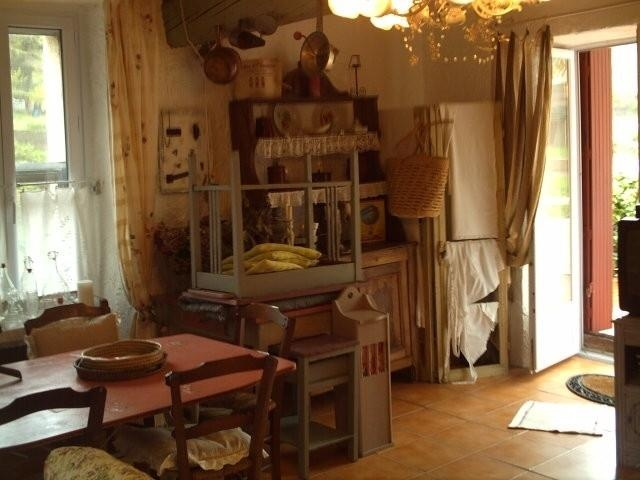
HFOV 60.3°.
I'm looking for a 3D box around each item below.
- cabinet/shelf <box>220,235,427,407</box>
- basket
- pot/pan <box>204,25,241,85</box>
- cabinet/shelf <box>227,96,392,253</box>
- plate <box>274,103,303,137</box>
[{"bbox_3d":[0.000,0.532,3.733,0.470,0.987,1.267,-1,4,38],"label":"cabinet/shelf"},{"bbox_3d":[0.825,-0.645,4.758,0.632,0.957,0.492,3,9,34],"label":"basket"},{"bbox_3d":[-0.784,-1.438,4.356,0.273,0.420,0.338,-4,8,-18],"label":"pot/pan"},{"bbox_3d":[-0.129,-0.531,4.518,0.443,1.288,1.277,0,5,42],"label":"cabinet/shelf"},{"bbox_3d":[-0.277,-1.012,4.672,0.081,0.269,0.295,3,9,33],"label":"plate"}]
